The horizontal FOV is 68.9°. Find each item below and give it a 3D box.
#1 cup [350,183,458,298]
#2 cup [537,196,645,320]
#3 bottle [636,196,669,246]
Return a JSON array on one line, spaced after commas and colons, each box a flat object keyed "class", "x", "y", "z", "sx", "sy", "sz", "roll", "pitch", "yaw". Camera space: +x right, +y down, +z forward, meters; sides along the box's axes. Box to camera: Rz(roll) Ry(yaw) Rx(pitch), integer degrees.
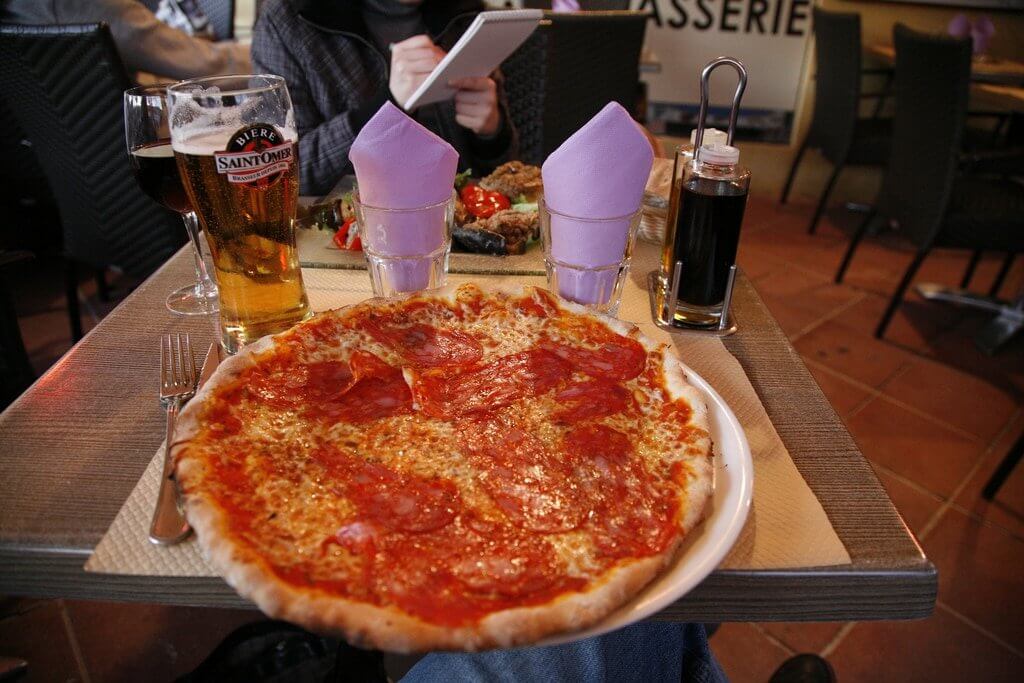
[{"class": "cup", "x": -0.219, "y": -0.215, "z": 1.662, "sx": 0.211, "sy": 0.239, "sz": 0.208, "roll": 0, "pitch": 23, "yaw": 0}, {"class": "cup", "x": 0.129, "y": -0.191, "z": 1.646, "sx": 0.221, "sy": 0.257, "sz": 0.224, "roll": 2, "pitch": 25, "yaw": -1}, {"class": "bottle", "x": 0.350, "y": -0.301, "z": 1.887, "sx": 0.112, "sy": 0.089, "sz": 0.119, "roll": 1, "pitch": 29, "yaw": -1}]
